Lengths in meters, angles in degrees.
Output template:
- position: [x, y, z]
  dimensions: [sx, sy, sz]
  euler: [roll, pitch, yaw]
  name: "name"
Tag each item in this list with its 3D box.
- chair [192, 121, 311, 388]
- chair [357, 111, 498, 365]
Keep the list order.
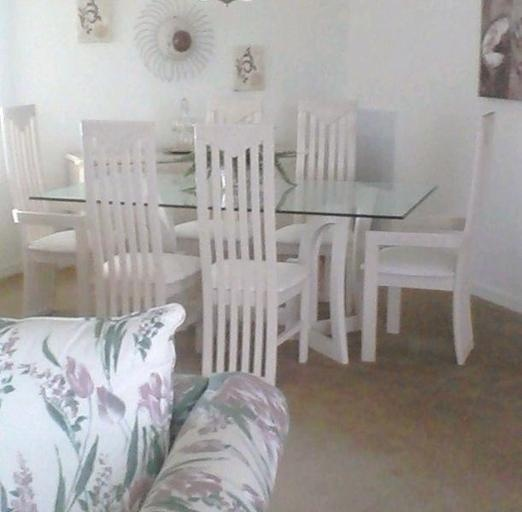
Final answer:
- position: [0.000, 0.046, 1.731]
  dimensions: [0.422, 0.959, 0.771]
  euler: [-2, 15, -6]
  name: "chair"
- position: [0.660, -0.094, 2.054]
  dimensions: [0.464, 0.927, 0.594]
  euler: [4, 15, 19]
  name: "chair"
